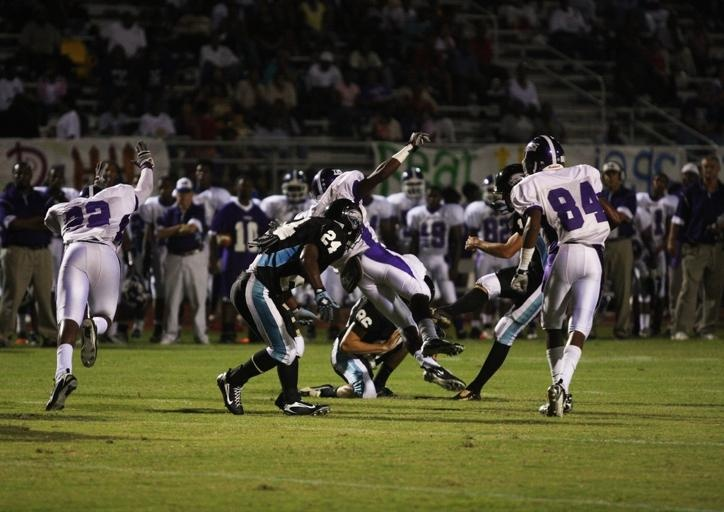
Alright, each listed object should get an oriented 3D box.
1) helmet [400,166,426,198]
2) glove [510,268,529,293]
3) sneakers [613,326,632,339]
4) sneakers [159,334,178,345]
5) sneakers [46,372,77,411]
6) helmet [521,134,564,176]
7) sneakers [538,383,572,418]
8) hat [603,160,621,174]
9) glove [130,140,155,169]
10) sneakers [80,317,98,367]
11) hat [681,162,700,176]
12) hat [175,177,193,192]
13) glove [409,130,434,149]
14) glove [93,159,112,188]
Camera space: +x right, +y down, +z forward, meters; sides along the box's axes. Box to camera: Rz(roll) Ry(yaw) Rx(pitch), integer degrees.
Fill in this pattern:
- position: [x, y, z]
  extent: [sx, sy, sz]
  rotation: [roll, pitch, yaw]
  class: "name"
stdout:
- position: [0.872, -1.287, 18.931]
  extent: [0.410, 0.461, 0.531]
  rotation: [0, 21, 6]
  class: "helmet"
- position: [1.589, 0.249, 11.032]
  extent: [0.161, 0.218, 0.091]
  rotation: [16, 19, 0]
  class: "glove"
- position: [4.180, 1.218, 17.664]
  extent: [0.119, 0.249, 0.356]
  rotation: [5, 7, 37]
  class: "sneakers"
- position: [-3.003, 1.299, 17.130]
  extent: [0.249, 0.170, 0.127]
  rotation: [3, -1, -12]
  class: "sneakers"
- position: [-2.941, 1.318, 10.702]
  extent: [0.276, 0.380, 0.252]
  rotation: [3, -1, -36]
  class: "sneakers"
- position: [1.895, -1.019, 11.425]
  extent: [0.408, 0.501, 0.490]
  rotation: [-8, 11, -8]
  class: "helmet"
- position: [1.896, 1.450, 10.742]
  extent: [0.182, 0.464, 0.210]
  rotation: [23, 48, 16]
  class: "sneakers"
- position: [3.881, -1.344, 16.995]
  extent: [0.268, 0.169, 0.334]
  rotation: [3, -1, 12]
  class: "hat"
- position: [-2.365, -1.076, 11.905]
  extent: [0.165, 0.294, 0.403]
  rotation: [3, -1, -16]
  class: "glove"
- position: [-2.754, 0.859, 10.974]
  extent: [0.177, 0.477, 0.217]
  rotation: [1, -6, 7]
  class: "sneakers"
- position: [5.180, -1.372, 17.433]
  extent: [0.282, 0.221, 0.289]
  rotation: [4, -3, 27]
  class: "hat"
- position: [-2.763, -1.082, 17.109]
  extent: [0.262, 0.216, 0.320]
  rotation: [3, -1, -9]
  class: "hat"
- position: [0.669, -1.277, 12.287]
  extent: [0.295, 0.150, 0.378]
  rotation: [3, 16, 17]
  class: "glove"
- position: [-2.798, -0.871, 11.894]
  extent: [0.162, 0.301, 0.614]
  rotation: [3, -1, -13]
  class: "glove"
